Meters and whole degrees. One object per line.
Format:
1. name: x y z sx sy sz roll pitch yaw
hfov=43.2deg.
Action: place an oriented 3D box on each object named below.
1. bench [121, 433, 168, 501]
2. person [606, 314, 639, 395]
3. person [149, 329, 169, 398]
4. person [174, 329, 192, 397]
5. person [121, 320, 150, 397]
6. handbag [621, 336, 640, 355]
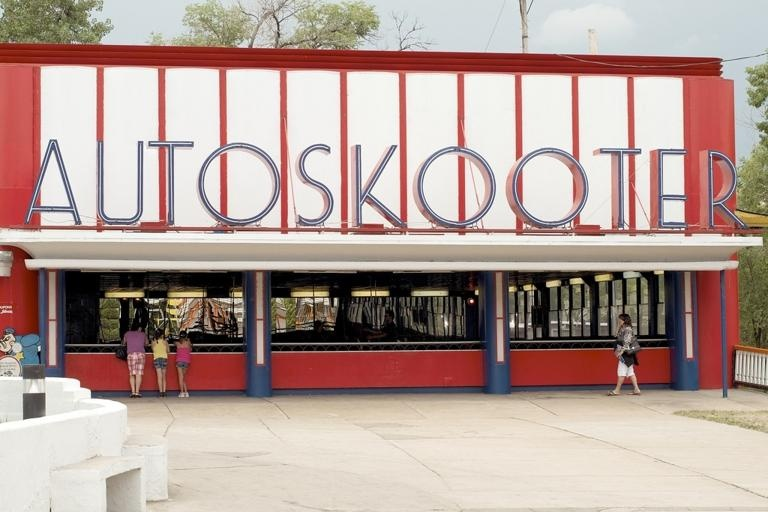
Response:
1. bench: -4.209 3.669 16.816 0.864 1.023 1.525 0 0 -12
2. person: 6.676 2.750 26.975 0.785 2.233 1.467 -3 -3 14
3. person: -6.119 2.936 26.440 0.422 1.799 0.479 -3 -3 15
4. person: -5.483 2.980 26.484 0.414 1.794 0.425 -1 -3 -12
5. person: -6.781 2.931 26.298 0.559 1.846 0.440 -2 -3 -7
6. handbag: 6.716 2.481 26.494 0.487 0.451 0.353 0 -8 14
